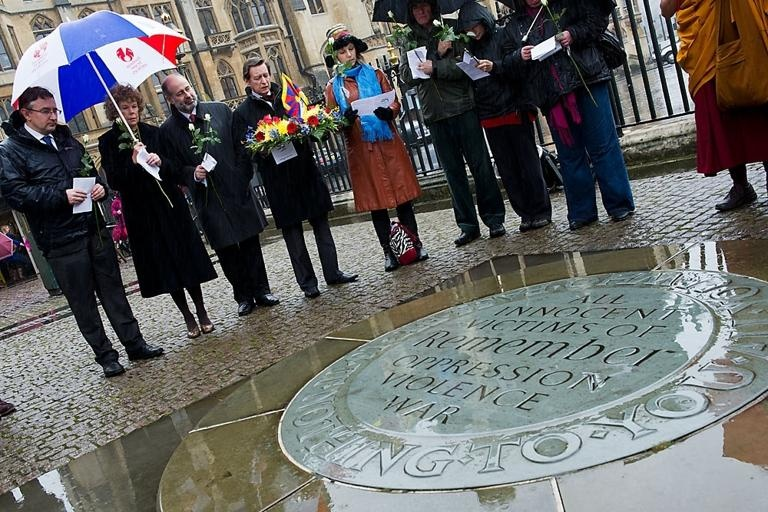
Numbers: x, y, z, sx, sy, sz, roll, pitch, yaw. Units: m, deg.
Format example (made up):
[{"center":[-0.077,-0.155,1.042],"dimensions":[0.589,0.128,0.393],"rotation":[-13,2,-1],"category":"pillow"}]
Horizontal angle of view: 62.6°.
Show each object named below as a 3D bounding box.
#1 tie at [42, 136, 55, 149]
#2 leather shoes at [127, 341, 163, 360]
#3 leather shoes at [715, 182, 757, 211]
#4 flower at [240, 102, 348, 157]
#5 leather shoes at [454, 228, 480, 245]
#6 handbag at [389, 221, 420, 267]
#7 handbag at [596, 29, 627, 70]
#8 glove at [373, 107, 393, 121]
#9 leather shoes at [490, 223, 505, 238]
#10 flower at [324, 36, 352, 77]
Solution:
[{"center":[-3.229,-1.098,6.084],"dimensions":[0.027,0.119,0.100],"rotation":[-2,19,31],"category":"tie"},{"center":[-2.417,0.954,6.485],"dimensions":[0.398,0.186,0.167],"rotation":[-3,7,-5],"category":"leather shoes"},{"center":[3.127,-0.529,5.576],"dimensions":[0.390,0.199,0.195],"rotation":[-14,16,-6],"category":"leather shoes"},{"center":[-0.890,-1.371,6.684],"dimensions":[0.598,0.254,0.611],"rotation":[-9,20,14],"category":"flower"},{"center":[0.918,-0.220,7.076],"dimensions":[0.328,0.142,0.117],"rotation":[-18,19,-29],"category":"leather shoes"},{"center":[0.202,-0.123,7.020],"dimensions":[0.246,0.456,0.320],"rotation":[-18,-2,-5],"category":"handbag"},{"center":[2.237,-2.005,6.160],"dimensions":[0.168,0.311,0.272],"rotation":[-20,36,9],"category":"handbag"},{"center":[0.011,-1.499,6.656],"dimensions":[0.213,0.165,0.059],"rotation":[-17,17,-18],"category":"glove"},{"center":[1.256,-0.283,6.915],"dimensions":[0.187,0.124,0.205],"rotation":[-12,16,-1],"category":"leather shoes"},{"center":[-0.534,-2.202,6.958],"dimensions":[0.216,0.415,0.669],"rotation":[-13,17,-5],"category":"flower"}]
